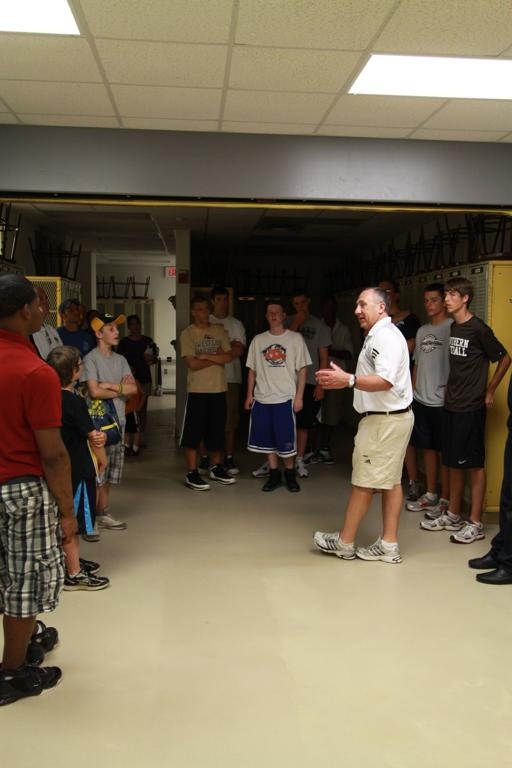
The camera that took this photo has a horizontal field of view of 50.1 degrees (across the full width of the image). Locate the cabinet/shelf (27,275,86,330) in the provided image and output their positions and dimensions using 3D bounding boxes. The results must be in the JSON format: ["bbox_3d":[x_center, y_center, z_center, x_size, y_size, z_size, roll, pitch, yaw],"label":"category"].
[{"bbox_3d":[-2.393,-0.926,6.392,0.384,0.582,0.643,0,10,-3],"label":"cabinet/shelf"}]

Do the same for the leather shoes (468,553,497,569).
[{"bbox_3d":[1.311,1.031,3.168,0.184,0.068,0.065,-1,3,0],"label":"leather shoes"}]

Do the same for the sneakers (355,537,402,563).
[{"bbox_3d":[0.731,0.988,3.280,0.294,0.133,0.114,2,0,16],"label":"sneakers"}]

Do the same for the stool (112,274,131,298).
[{"bbox_3d":[-3.422,-2.454,13.884,0.568,0.698,0.581,-1,9,-5],"label":"stool"}]

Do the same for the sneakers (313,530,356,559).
[{"bbox_3d":[0.469,0.954,3.315,0.264,0.121,0.124,18,40,6],"label":"sneakers"}]

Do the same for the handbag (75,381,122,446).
[{"bbox_3d":[-0.978,0.243,3.434,0.237,0.418,0.296,-16,-8,-18],"label":"handbag"}]

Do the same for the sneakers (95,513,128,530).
[{"bbox_3d":[-1.015,0.961,3.804,0.234,0.093,0.082,1,4,-6],"label":"sneakers"}]

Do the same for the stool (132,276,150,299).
[{"bbox_3d":[-2.968,-2.401,13.896,0.590,0.686,0.539,0,1,-1],"label":"stool"}]
